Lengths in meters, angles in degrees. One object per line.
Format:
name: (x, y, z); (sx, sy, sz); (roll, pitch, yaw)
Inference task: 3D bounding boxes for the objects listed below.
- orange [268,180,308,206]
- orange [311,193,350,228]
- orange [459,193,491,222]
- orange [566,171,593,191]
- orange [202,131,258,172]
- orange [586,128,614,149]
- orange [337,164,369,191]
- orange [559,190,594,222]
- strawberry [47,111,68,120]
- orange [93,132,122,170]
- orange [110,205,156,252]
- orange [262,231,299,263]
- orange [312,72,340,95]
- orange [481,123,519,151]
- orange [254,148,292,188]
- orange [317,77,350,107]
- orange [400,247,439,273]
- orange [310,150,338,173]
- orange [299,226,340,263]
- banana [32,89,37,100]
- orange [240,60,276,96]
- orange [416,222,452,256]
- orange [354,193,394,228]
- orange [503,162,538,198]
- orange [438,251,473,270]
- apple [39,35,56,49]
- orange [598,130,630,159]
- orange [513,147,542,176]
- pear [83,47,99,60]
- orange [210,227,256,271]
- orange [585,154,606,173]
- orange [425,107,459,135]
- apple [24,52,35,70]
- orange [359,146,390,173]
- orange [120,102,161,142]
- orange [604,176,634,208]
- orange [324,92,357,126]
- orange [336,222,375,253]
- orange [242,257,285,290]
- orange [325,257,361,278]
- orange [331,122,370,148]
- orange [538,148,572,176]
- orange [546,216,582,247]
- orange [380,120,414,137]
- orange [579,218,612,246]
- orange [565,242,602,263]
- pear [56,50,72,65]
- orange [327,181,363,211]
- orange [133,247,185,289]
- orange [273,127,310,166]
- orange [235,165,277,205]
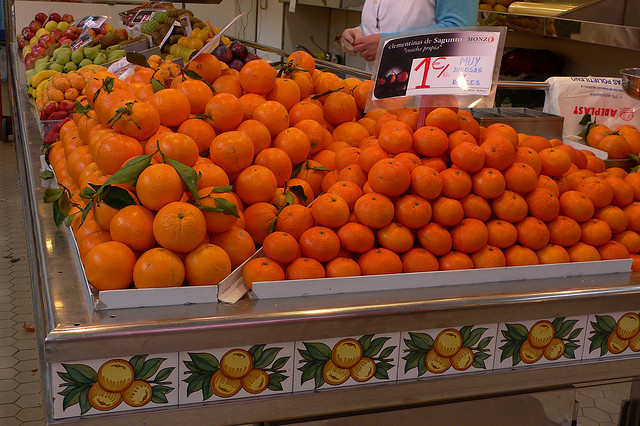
orange: (-0.106, -0.059, 1.541); (0.094, 0.114, 0.083); (5, 2, -16)
orange: (0.037, -0.007, 1.377); (0.100, 0.070, 0.096); (8, 13, -6)
orange: (0.485, -0.018, 1.501); (0.089, 0.077, 0.082); (-2, 16, -15)
orange: (0.883, -0.119, 1.602); (0.075, 0.070, 0.073); (1, 18, 16)
orange: (-0.273, -0.199, 1.459); (0.156, 0.110, 0.143); (1, 8, -6)
orange: (1.396, -0.387, 2.357); (0.119, 0.107, 0.122); (12, 19, 40)
orange: (0.102, -0.115, 1.512); (0.086, 0.079, 0.082); (-1, 21, -10)
orange: (0.828, -0.023, 1.558); (0.101, 0.072, 0.100); (27, 6, -7)
strawberry: (-1.504, -0.567, 2.705); (0.106, 0.044, 0.050); (-12, 48, 9)
orange: (-0.671, -0.195, 1.467); (0.107, 0.101, 0.099); (-1, 2, 11)
orange: (-0.529, 0.048, 1.310); (0.118, 0.117, 0.125); (-1, 0, 35)
orange: (-0.107, 0.097, 1.370); (0.088, 0.067, 0.089); (21, 24, 31)
orange: (0.032, -0.531, 1.969); (0.102, 0.113, 0.099); (2, 2, 1)
orange: (0.616, -0.275, 1.631); (0.110, 0.103, 0.106); (1, 16, 3)
orange: (-0.130, -0.150, 1.552); (0.132, 0.122, 0.152); (3, 7, -2)
orange: (0.034, -0.525, 1.929); (0.135, 0.125, 0.129); (-9, 38, -21)
orange: (0.289, 0.126, 1.377); (0.079, 0.074, 0.079); (2, 7, 28)
orange: (0.015, -0.180, 1.674); (0.089, 0.082, 0.081); (-3, 3, -20)
orange: (0.032, 0.097, 1.404); (0.151, 0.107, 0.152); (2, 2, 8)
banana: (-2.160, -0.893, 3.538); (0.028, 0.073, 0.094); (4, 42, -38)
orange: (-0.220, -0.503, 1.783); (0.136, 0.129, 0.125); (0, 50, 2)
orange: (0.346, 0.077, 1.409); (0.099, 0.068, 0.096); (21, -22, 10)
orange: (0.161, -0.016, 1.403); (0.101, 0.073, 0.100); (-12, 18, -42)
orange: (0.652, -0.110, 1.523); (0.110, 0.098, 0.111); (2, 16, 20)
orange: (0.403, 0.145, 1.395); (0.066, 0.056, 0.064); (-9, 10, -39)
apple: (-2.499, -1.580, 4.317); (0.186, 0.109, 0.156); (17, 28, 31)
orange: (1.384, -0.319, 2.208); (0.124, 0.115, 0.126); (-11, 13, 13)
orange: (0.684, -0.173, 1.580); (0.096, 0.106, 0.093); (0, 9, 9)
pear: (-1.845, -1.282, 3.755); (0.105, 0.054, 0.101); (-11, 46, -25)
orange: (-0.249, 0.099, 1.392); (0.122, 0.113, 0.117); (12, 13, 6)
orange: (1.067, -0.192, 1.835); (0.080, 0.090, 0.080); (0, 5, 19)
orange: (0.430, -0.320, 1.619); (0.106, 0.098, 0.099); (0, 8, 17)
apple: (-2.630, -1.378, 4.246); (0.085, 0.140, 0.316); (-13, 27, -30)
orange: (0.170, -0.177, 1.495); (0.086, 0.079, 0.082); (-3, 23, -7)
orange: (-0.554, -0.283, 1.449); (0.125, 0.116, 0.115); (-1, 17, -4)
orange: (1.016, -0.074, 1.643); (0.099, 0.112, 0.097); (-3, 11, 13)
orange: (0.077, -0.410, 1.826); (0.124, 0.117, 0.120); (-14, 16, -40)
orange: (0.107, 0.070, 1.367); (0.096, 0.066, 0.087); (1, 14, -14)
orange: (-0.157, 0.155, 1.290); (0.091, 0.065, 0.089); (12, 15, 12)
orange: (0.059, 0.154, 1.332); (0.068, 0.060, 0.066); (1, 7, 7)
orange: (0.129, -0.291, 1.833); (0.120, 0.108, 0.109); (1, -3, -7)
orange: (0.790, -0.170, 1.574); (0.096, 0.068, 0.094); (-2, 13, -12)
orange: (0.768, 0.057, 1.474); (0.097, 0.084, 0.092); (0, 0, -2)
orange: (0.264, -0.305, 1.601); (0.084, 0.074, 0.080); (-2, 17, -13)
orange: (0.875, 0.057, 1.511); (0.090, 0.077, 0.085); (-1, 9, -3)
orange: (0.826, 0.112, 1.449); (0.072, 0.035, 0.070); (-2, 12, 2)
pear: (-2.078, -1.267, 3.803); (0.126, 0.102, 0.137); (-10, 26, -24)
orange: (0.073, -0.054, 1.442); (0.091, 0.081, 0.090); (-1, 7, 5)
orange: (-0.444, 0.165, 1.257); (0.127, 0.119, 0.126); (10, 5, -15)
orange: (-0.093, -0.238, 1.626); (0.106, 0.099, 0.102); (6, 10, -40)
orange: (-0.195, -0.085, 1.503); (0.120, 0.108, 0.116); (-12, 15, -18)
